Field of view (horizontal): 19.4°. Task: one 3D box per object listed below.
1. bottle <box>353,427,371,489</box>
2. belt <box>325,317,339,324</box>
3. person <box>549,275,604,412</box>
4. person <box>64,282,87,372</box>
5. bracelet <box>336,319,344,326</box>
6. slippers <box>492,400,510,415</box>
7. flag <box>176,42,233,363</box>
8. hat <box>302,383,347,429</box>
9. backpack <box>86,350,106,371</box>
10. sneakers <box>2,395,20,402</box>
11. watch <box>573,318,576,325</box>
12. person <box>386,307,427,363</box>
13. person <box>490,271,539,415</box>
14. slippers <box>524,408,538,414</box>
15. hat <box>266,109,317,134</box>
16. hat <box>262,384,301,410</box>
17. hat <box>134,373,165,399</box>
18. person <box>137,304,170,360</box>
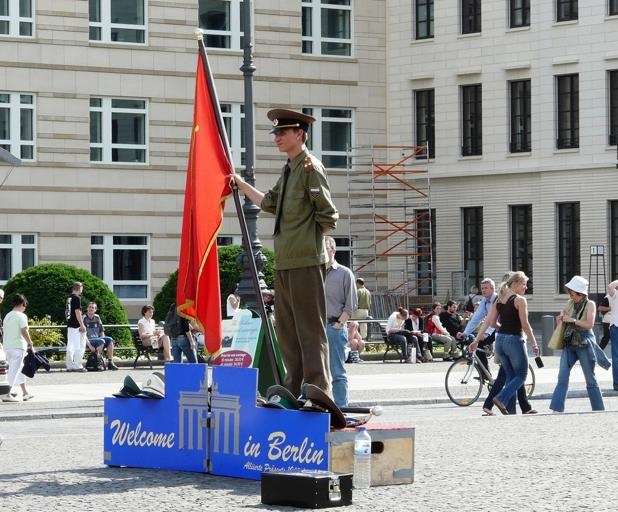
[{"bbox_3d":[0.751,2.879,25.639,0.249,0.885,0.123,-1,2,6],"label":"bottle"},{"bbox_3d":[0.380,1.032,29.032,0.224,0.137,0.216,0,-6,4],"label":"belt"},{"bbox_3d":[4.835,1.594,32.508,0.986,2.434,1.257,-1,2,9],"label":"person"},{"bbox_3d":[-5.155,1.559,39.880,0.452,1.918,0.669,-2,2,-8],"label":"person"},{"bbox_3d":[0.498,1.077,29.282,0.092,0.106,0.041,-4,3,9],"label":"bracelet"},{"bbox_3d":[3.411,2.663,31.900,0.127,0.398,0.146,-14,-5,-6],"label":"slippers"},{"bbox_3d":[-1.583,-0.917,27.334,0.897,4.843,0.574,-2,2,-4],"label":"flag"},{"bbox_3d":[0.220,2.142,25.781,0.614,0.642,0.377,-1,2,0],"label":"hat"},{"bbox_3d":[-4.741,2.316,39.982,0.421,0.386,0.420,9,1,-8],"label":"backpack"},{"bbox_3d":[-5.620,2.689,33.943,0.420,0.160,0.128,-6,-4,36],"label":"sneakers"},{"bbox_3d":[4.775,1.176,32.441,0.095,0.089,0.022,-3,-8,-12],"label":"watch"},{"bbox_3d":[2.298,1.887,43.298,0.732,1.230,0.939,-2,2,-22],"label":"person"},{"bbox_3d":[3.610,1.542,31.841,0.707,2.529,0.848,-1,2,6],"label":"person"},{"bbox_3d":[3.964,2.776,32.150,0.107,0.085,0.261,14,-14,-30],"label":"slippers"},{"bbox_3d":[-0.266,-2.026,26.596,0.471,0.214,0.458,0,-1,-28],"label":"hat"},{"bbox_3d":[-0.391,2.064,25.959,0.208,0.405,0.365,-43,16,-32],"label":"hat"},{"bbox_3d":[-2.338,1.925,26.591,0.301,0.231,0.417,-1,-10,30],"label":"hat"},{"bbox_3d":[-3.419,1.718,40.008,0.678,1.246,1.617,-2,2,-14],"label":"person"}]
